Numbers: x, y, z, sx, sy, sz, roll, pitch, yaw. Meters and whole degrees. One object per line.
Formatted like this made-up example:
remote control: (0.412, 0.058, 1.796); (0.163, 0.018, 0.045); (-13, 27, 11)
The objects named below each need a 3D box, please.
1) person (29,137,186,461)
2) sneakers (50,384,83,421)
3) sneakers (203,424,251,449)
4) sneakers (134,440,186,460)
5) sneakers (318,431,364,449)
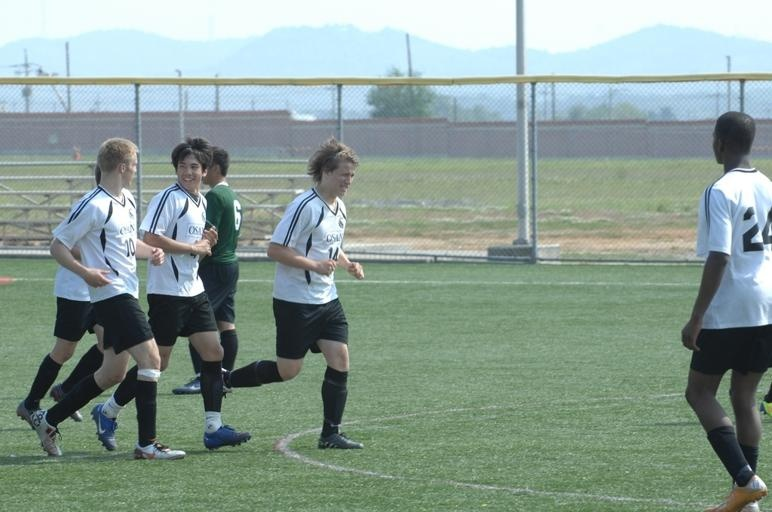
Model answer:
person: (-2.664, 0.419, 14.022); (1.299, 3.089, 0.640); (-2, 7, -8)
sneakers: (-3.149, 1.453, 14.357); (0.255, 0.460, 0.152); (-10, 39, 46)
sneakers: (-1.579, 1.777, 14.150); (0.586, 0.214, 0.181); (-3, -8, 0)
sneakers: (-2.189, 1.894, 14.071); (0.514, 0.153, 0.172); (0, -3, 0)
sneakers: (-0.458, 1.825, 14.262); (0.472, 0.141, 0.158); (1, -4, 0)
